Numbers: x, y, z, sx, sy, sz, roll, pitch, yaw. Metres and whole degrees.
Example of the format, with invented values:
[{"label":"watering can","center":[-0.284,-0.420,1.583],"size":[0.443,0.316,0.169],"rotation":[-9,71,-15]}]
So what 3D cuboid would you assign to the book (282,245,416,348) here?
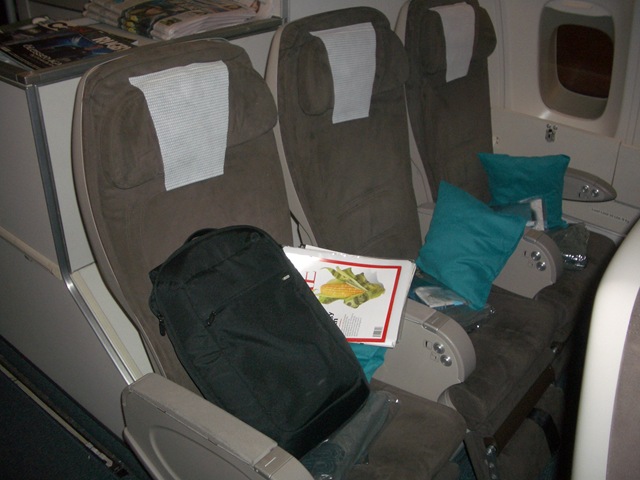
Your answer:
[{"label":"book","center":[0.078,0.140,1.506],"size":[0.339,0.087,0.279],"rotation":[9,67,1]}]

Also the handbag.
[{"label":"handbag","center":[-0.145,0.250,1.306],"size":[0.383,0.492,0.373],"rotation":[14,28,38]}]
